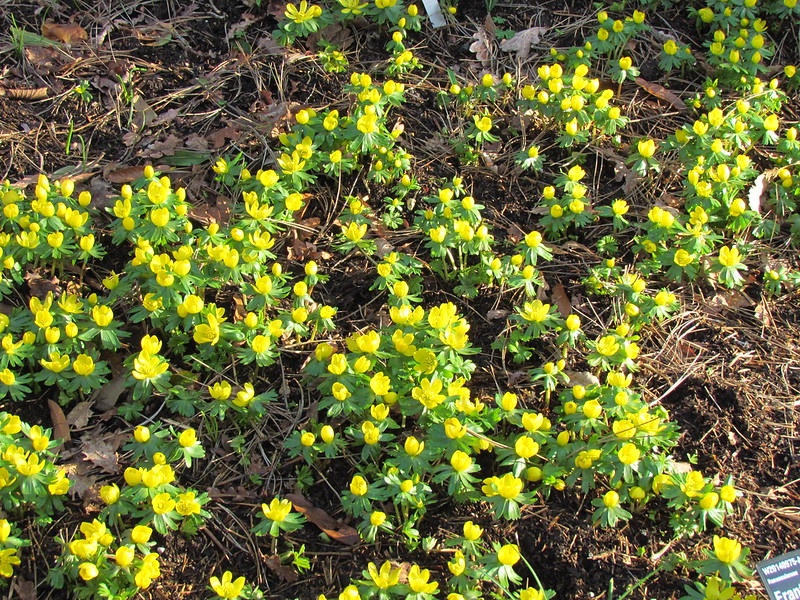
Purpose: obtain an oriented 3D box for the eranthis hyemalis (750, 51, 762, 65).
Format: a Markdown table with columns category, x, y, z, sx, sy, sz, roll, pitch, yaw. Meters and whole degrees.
| category | x | y | z | sx | sy | sz | roll | pitch | yaw |
| --- | --- | --- | --- | --- | --- | --- | --- | --- | --- |
| eranthis hyemalis | 2.194 | -1.503 | 4.698 | 0.049 | 0.071 | 0.050 | 38 | 77 | 29 |
